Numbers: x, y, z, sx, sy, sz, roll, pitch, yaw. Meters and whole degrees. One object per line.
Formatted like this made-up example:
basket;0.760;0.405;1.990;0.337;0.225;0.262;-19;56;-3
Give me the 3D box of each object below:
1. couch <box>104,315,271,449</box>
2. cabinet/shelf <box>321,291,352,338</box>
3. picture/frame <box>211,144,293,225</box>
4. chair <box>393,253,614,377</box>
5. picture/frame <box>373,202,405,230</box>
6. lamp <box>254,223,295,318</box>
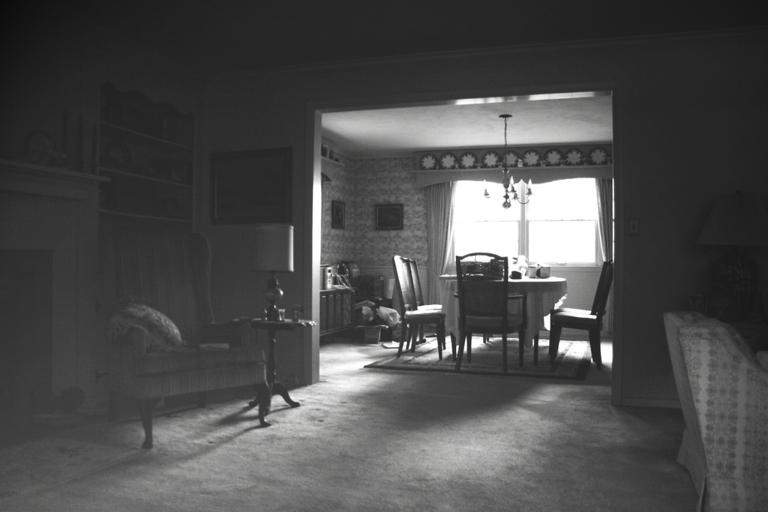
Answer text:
couch;-1.526;0.909;4.570;1.125;0.890;0.655;-1;4;-29
cabinet/shelf;-0.737;0.851;8.900;0.523;0.659;0.992;-2;-3;15
picture/frame;-1.359;-0.772;6.161;0.890;0.754;0.097;0;2;15
chair;1.308;0.642;6.985;2.603;1.383;1.349;2;4;22
picture/frame;0.108;-0.730;10.501;0.491;0.428;0.049;0;-2;11
lamp;-1.068;0.144;5.618;0.377;0.922;1.283;0;3;-13
